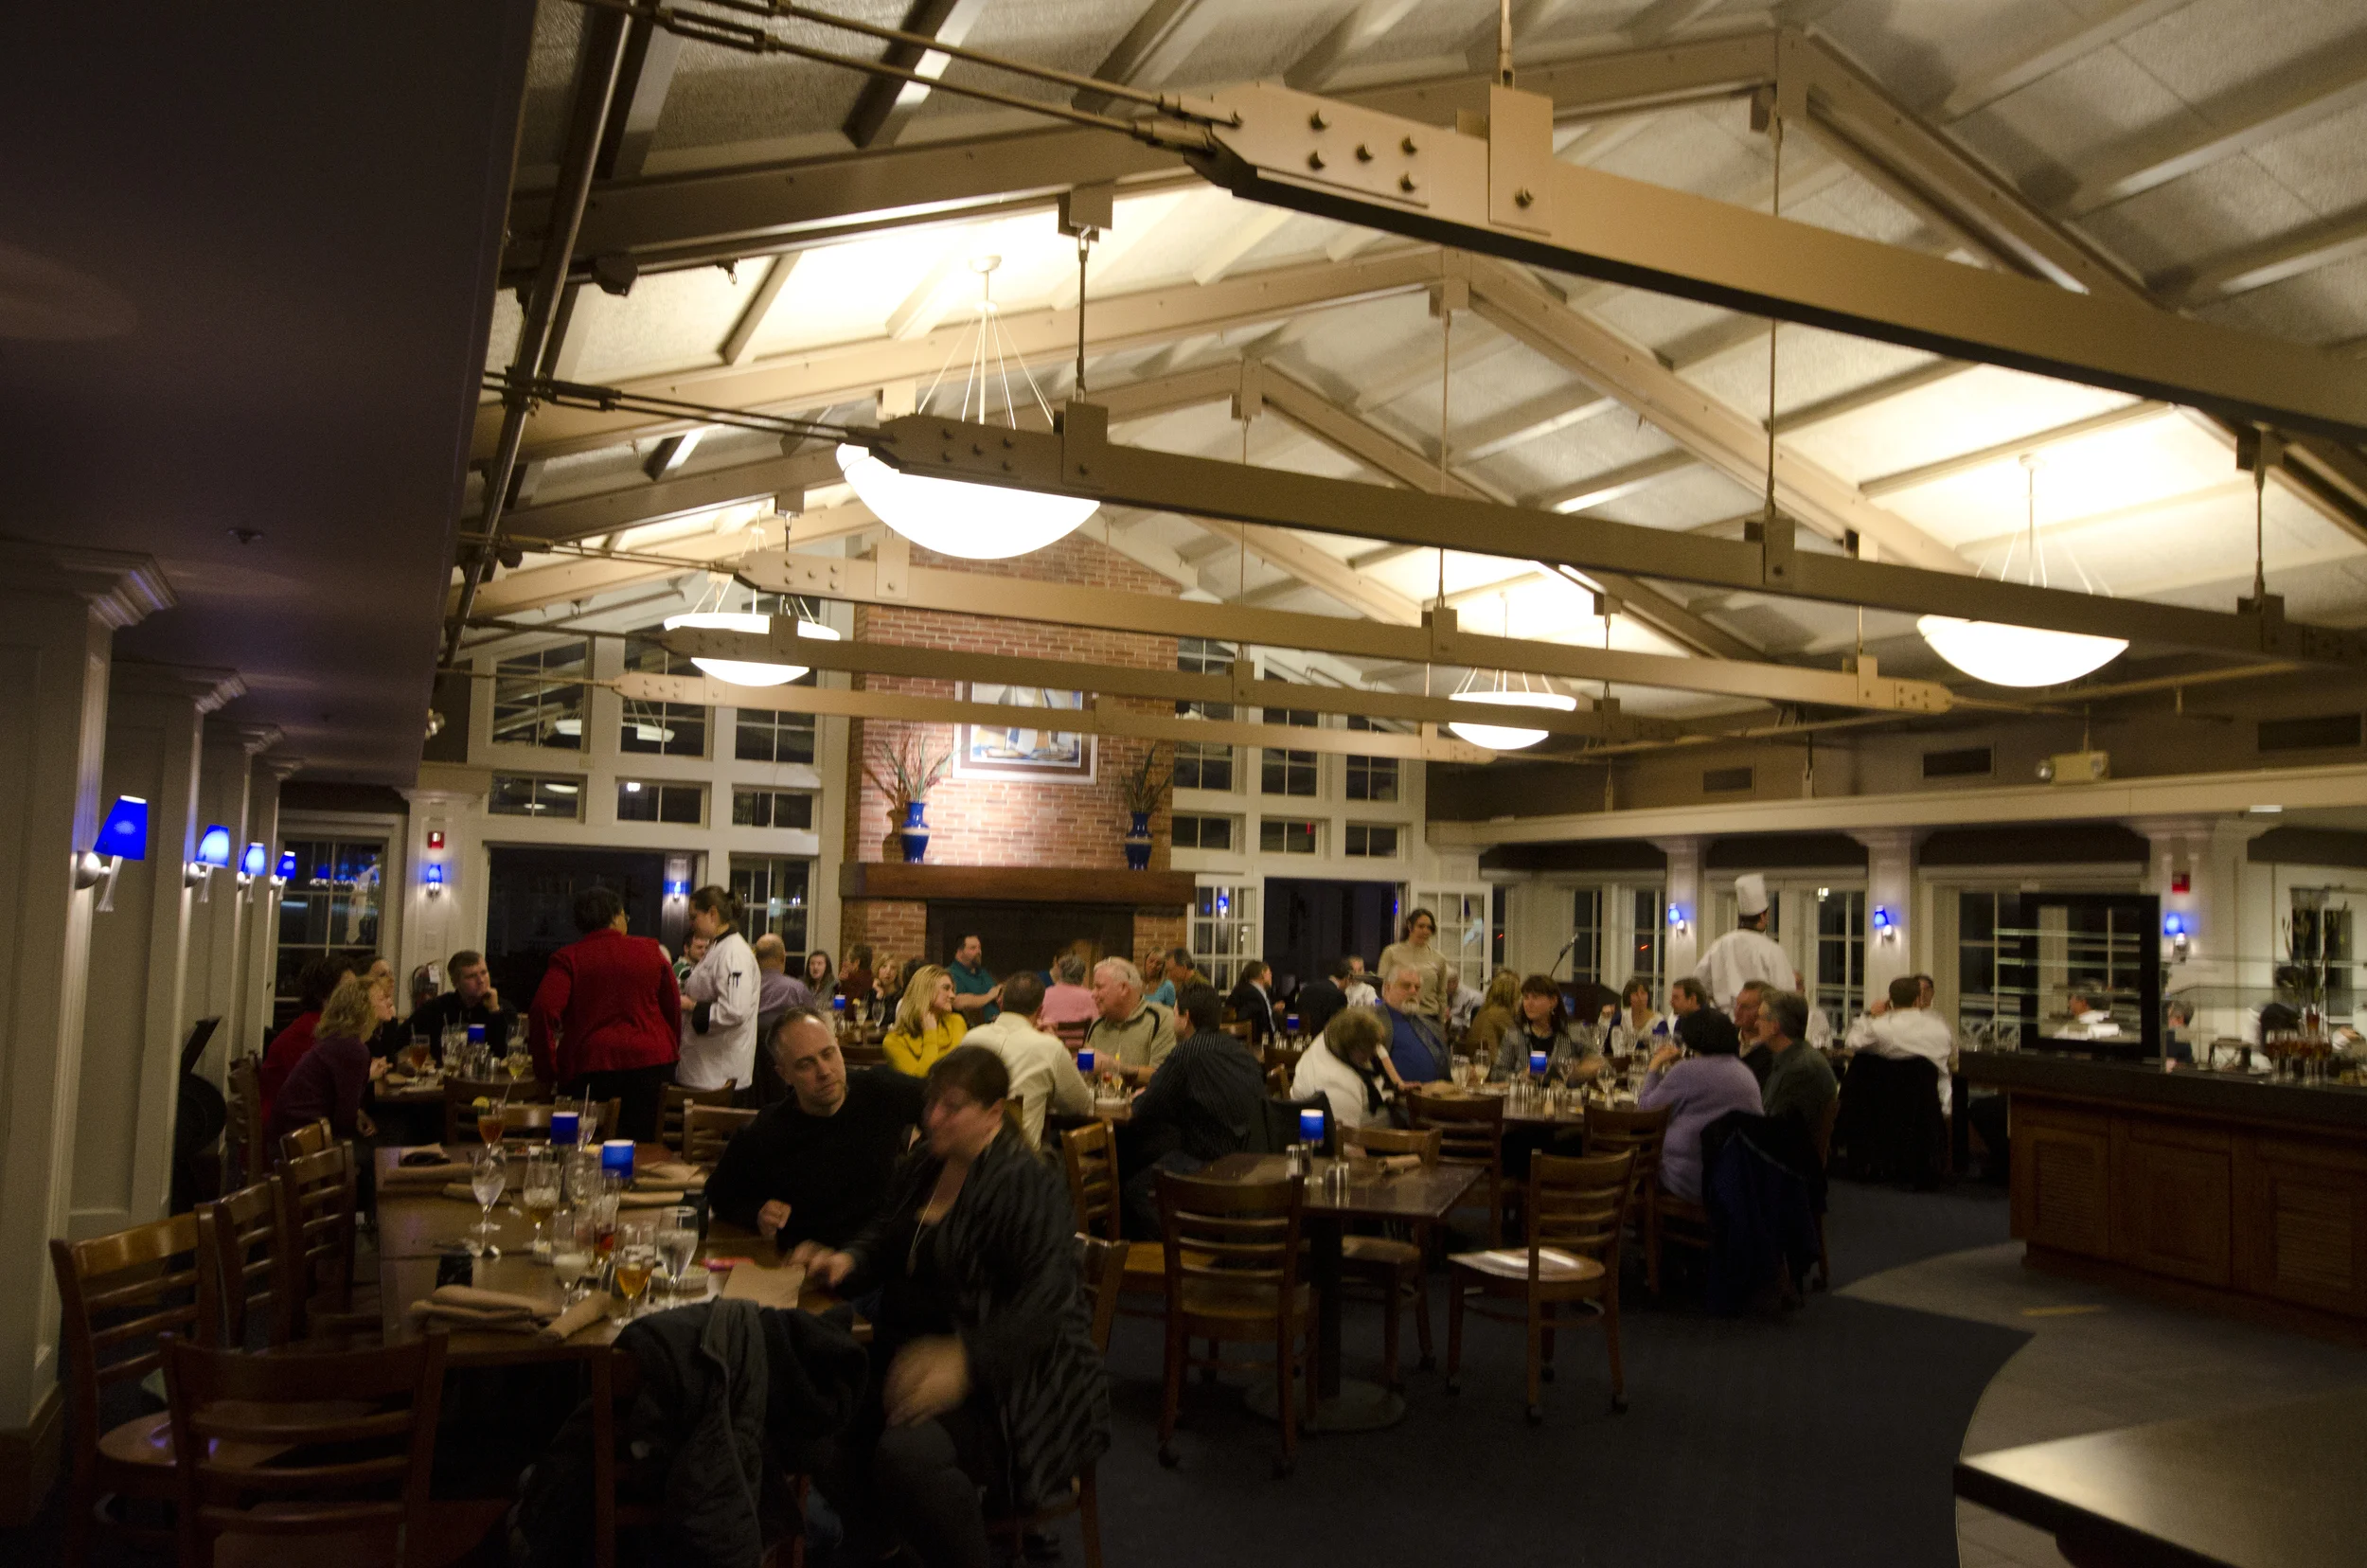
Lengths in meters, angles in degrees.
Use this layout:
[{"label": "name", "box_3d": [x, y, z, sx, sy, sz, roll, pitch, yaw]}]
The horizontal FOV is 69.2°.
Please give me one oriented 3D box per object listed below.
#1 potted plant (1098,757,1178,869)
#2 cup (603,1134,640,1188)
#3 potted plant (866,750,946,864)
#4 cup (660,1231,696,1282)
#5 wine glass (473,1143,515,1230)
[{"label": "potted plant", "box_3d": [-0.323, 0.279, 16.963, 0.797, 1.056, 0.435, 0, 3, -41]}, {"label": "cup", "box_3d": [-2.083, 1.390, 6.365, 0.163, 0.188, 0.165, 1, -4, 0]}, {"label": "potted plant", "box_3d": [-2.614, 0.189, 15.852, 0.660, 0.971, 0.426, 2, 3, -10]}, {"label": "cup", "box_3d": [-1.565, 1.452, 5.344, 0.100, 0.115, 0.098, -1, -7, 0]}, {"label": "wine glass", "box_3d": [-2.340, 1.366, 5.884, 0.113, 0.265, 0.284, 1, 3, -29]}]
